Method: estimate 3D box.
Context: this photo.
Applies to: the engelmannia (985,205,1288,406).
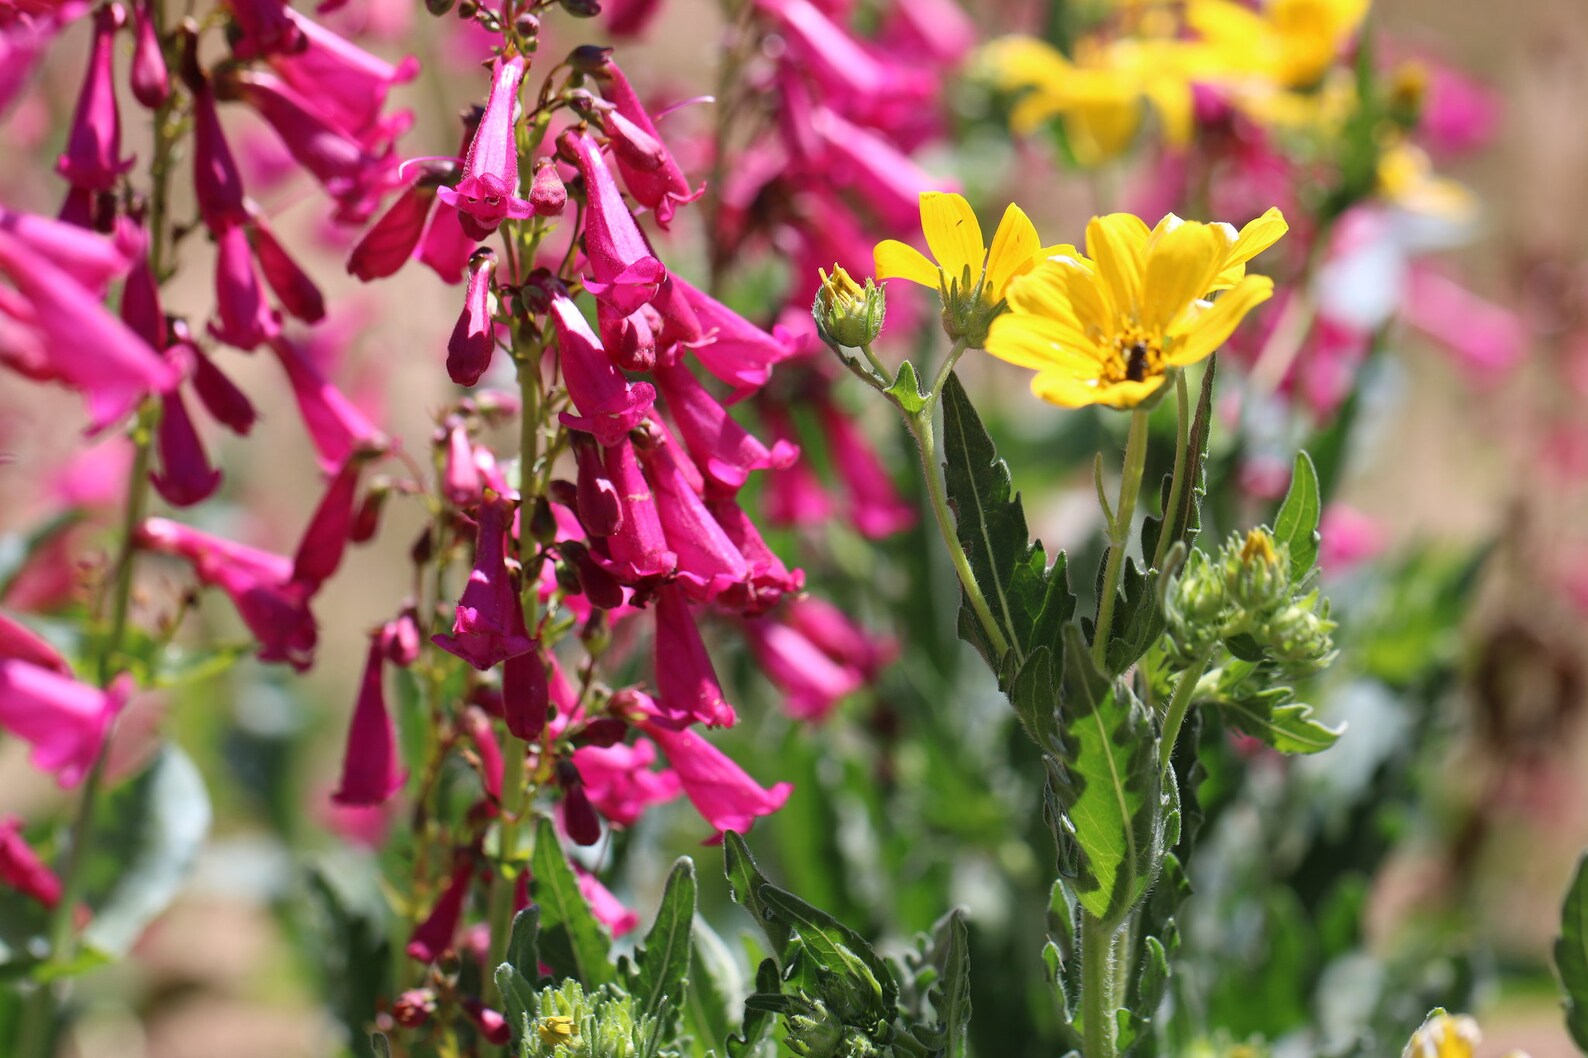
[{"bbox_3d":[0.329,-0.197,2.162,0.240,0.126,0.273,-3,-20,21],"label":"engelmannia"}]
